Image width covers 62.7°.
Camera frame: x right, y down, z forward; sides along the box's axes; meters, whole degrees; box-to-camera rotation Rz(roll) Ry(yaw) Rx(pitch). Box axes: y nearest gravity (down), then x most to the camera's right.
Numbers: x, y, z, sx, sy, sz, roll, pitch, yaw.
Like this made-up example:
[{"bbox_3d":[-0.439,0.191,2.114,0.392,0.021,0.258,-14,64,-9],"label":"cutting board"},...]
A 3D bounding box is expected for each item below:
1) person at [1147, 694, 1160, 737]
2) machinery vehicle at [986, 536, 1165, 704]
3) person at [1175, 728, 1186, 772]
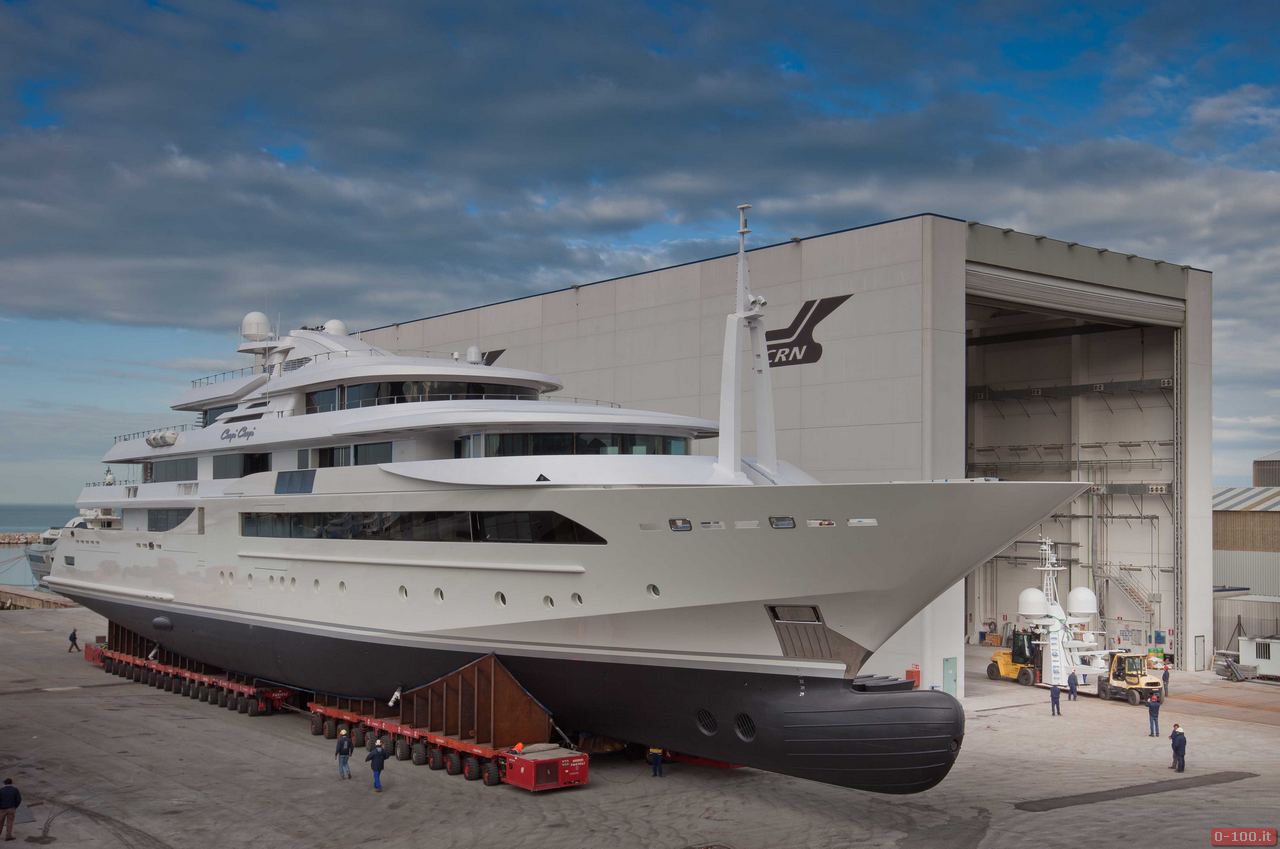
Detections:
[{"bbox_3d":[13.204,7.478,26.987,0.241,0.931,0.867,-1,-8,25],"label":"person"},{"bbox_3d":[13.784,6.629,33.465,3.733,4.194,6.327,2,-4,-36],"label":"machinery vehicle"},{"bbox_3d":[12.224,7.376,23.871,0.252,0.945,0.550,-1,-8,24],"label":"person"}]
